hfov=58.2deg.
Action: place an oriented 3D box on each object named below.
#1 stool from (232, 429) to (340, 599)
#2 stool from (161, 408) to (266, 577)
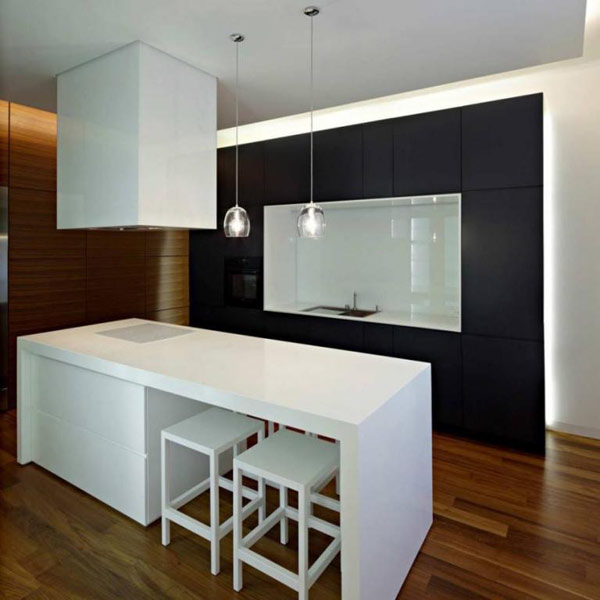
[{"bbox_3d":[-0.066,1.026,2.674,0.520,0.668,0.770,1,7,3],"label":"stool"},{"bbox_3d":[-0.546,0.925,3.045,0.537,1.084,0.600,2,3,36],"label":"stool"}]
